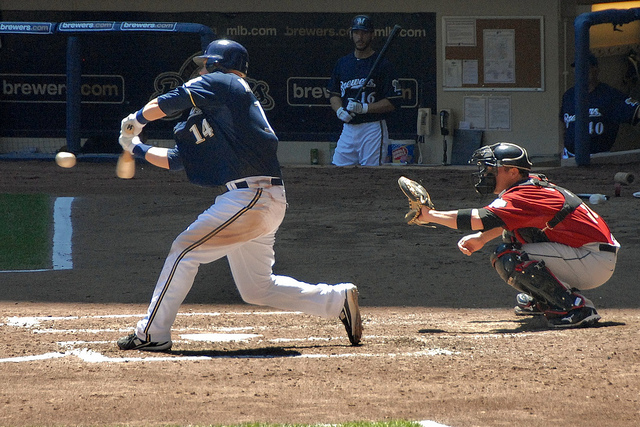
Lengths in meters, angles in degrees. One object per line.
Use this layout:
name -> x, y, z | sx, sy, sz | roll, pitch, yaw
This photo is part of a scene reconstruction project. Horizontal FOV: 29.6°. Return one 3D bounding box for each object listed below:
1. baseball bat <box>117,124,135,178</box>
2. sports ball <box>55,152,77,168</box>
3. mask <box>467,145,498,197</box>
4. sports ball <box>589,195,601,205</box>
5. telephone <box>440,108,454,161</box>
baseball bat -> -2.200, -0.655, 13.698 | 0.153, 0.321, 0.136 | 1, -3, 25
sports ball -> -3.061, -0.638, 14.543 | 0.223, 0.134, 0.225 | 9, 35, -6
mask -> 1.813, -0.514, 13.792 | 0.311, 0.522, 0.414 | 0, 0, -5
sports ball -> 4.017, -0.210, 17.790 | 0.158, 0.092, 0.139 | 0, 10, 13
telephone -> 2.342, -1.486, 22.586 | 0.233, 0.974, 0.351 | 1, 5, 13
